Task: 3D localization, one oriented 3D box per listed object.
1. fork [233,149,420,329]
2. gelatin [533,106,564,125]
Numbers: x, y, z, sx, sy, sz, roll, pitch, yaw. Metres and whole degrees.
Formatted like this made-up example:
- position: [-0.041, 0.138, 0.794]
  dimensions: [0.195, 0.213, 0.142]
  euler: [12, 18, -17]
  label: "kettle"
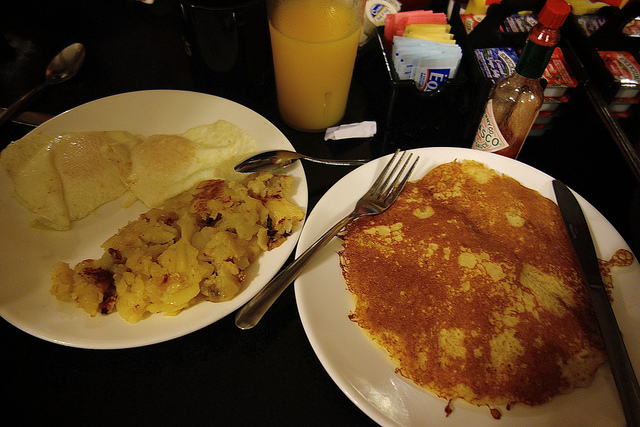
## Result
- position: [0.018, 0.076, 1.161]
  dimensions: [0.071, 0.062, 0.538]
  euler: [41, 77, 12]
  label: "fork"
- position: [0.705, -0.298, 1.480]
  dimensions: [0.066, 0.017, 0.069]
  euler: [7, 62, 3]
  label: "gelatin"
